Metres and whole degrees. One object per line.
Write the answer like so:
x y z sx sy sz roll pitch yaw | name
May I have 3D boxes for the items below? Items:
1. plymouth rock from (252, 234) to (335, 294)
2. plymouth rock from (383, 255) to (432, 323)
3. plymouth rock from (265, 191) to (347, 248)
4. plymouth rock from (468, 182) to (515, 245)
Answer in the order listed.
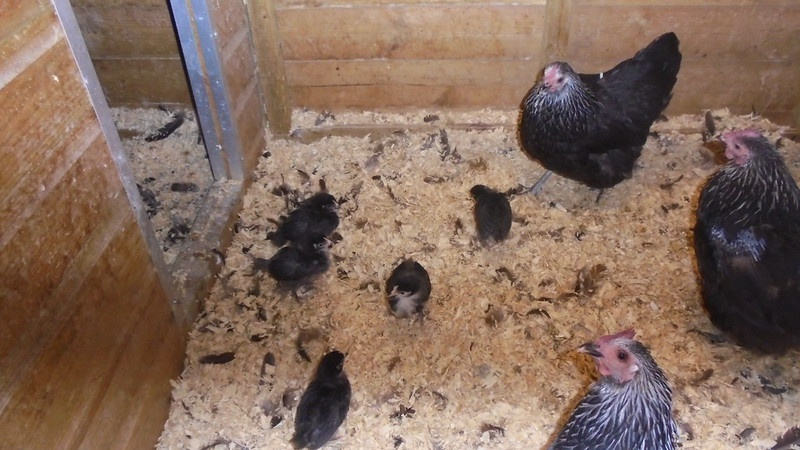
-0.897 0.331 5.316 0.618 0.384 0.324 -4 80 -19 | plymouth rock
0.068 0.534 5.246 0.327 0.306 0.441 2 83 1 | plymouth rock
-0.793 -0.018 5.504 0.629 0.251 0.339 -30 93 -16 | plymouth rock
0.776 -0.107 5.692 0.327 0.141 0.488 -6 72 -5 | plymouth rock
